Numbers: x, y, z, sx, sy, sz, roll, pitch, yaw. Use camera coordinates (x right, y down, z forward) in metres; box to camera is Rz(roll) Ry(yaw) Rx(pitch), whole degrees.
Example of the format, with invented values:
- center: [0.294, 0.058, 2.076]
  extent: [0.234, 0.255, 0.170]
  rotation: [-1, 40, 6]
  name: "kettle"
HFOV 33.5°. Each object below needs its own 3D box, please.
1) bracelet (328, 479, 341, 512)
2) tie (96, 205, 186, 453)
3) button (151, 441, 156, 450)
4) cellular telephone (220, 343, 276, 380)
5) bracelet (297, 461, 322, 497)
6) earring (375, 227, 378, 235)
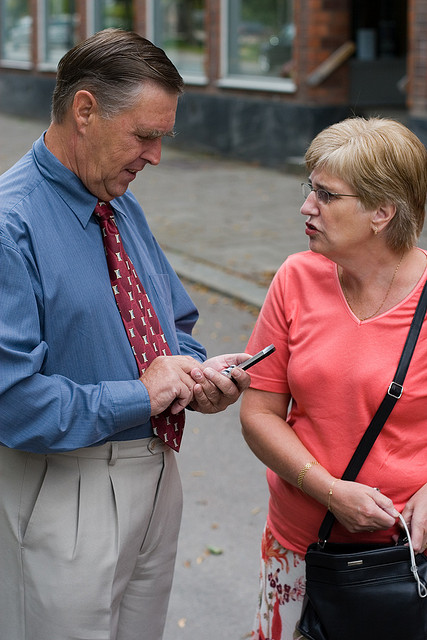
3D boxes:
- center: [0.282, 0.423, 1.711]
  extent: [0.019, 0.059, 0.060]
  rotation: [9, 18, 20]
  name: "bracelet"
- center: [-0.196, -0.025, 1.804]
  extent: [0.156, 0.078, 0.796]
  rotation: [7, 42, -38]
  name: "tie"
- center: [-0.154, 0.324, 1.835]
  extent: [0.005, 0.016, 0.014]
  rotation: [8, 13, 34]
  name: "button"
- center: [0.089, 0.100, 1.859]
  extent: [0.134, 0.095, 0.134]
  rotation: [-1, 11, 1]
  name: "cellular telephone"
- center: [0.240, 0.399, 1.774]
  extent: [0.019, 0.066, 0.078]
  rotation: [14, 27, 43]
  name: "bracelet"
- center: [0.401, -0.220, 1.746]
  extent: [0.007, 0.018, 0.017]
  rotation: [1, 12, 9]
  name: "earring"
